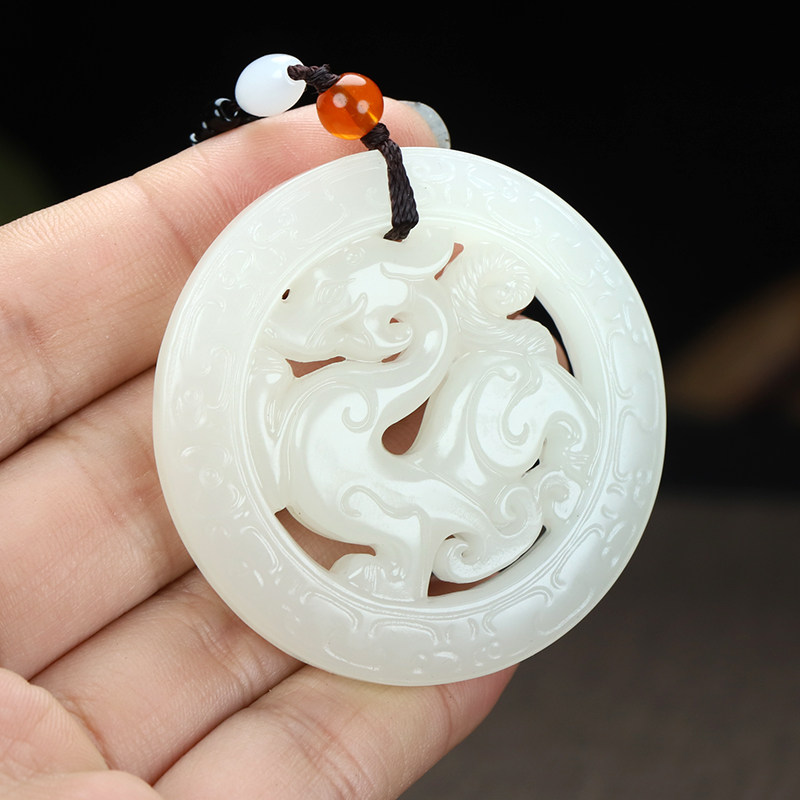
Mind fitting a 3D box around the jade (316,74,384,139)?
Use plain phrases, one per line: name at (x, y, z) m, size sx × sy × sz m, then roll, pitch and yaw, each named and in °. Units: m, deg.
jade at (-0.104, -0.576, 2.013) m, size 0.127 × 0.162 × 0.128 m, roll -1°, pitch 84°, yaw -3°
